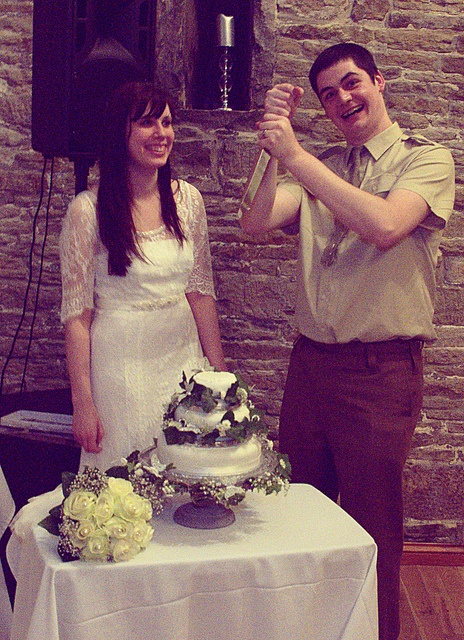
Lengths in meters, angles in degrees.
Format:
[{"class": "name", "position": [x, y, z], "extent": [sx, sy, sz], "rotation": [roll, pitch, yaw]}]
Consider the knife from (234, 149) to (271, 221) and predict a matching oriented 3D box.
[{"class": "knife", "position": [0.068, -0.405, 2.063], "extent": [0.090, 0.209, 0.306], "rotation": [1, 11, 2]}]

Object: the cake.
[{"class": "cake", "position": [-0.053, 0.234, 1.615], "extent": [0.184, 0.177, 0.208], "rotation": [0, 8, 11]}]

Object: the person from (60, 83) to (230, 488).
[{"class": "person", "position": [-0.284, -0.162, 2.297], "extent": [0.592, 1.233, 0.334], "rotation": [-7, 12, -40]}]
